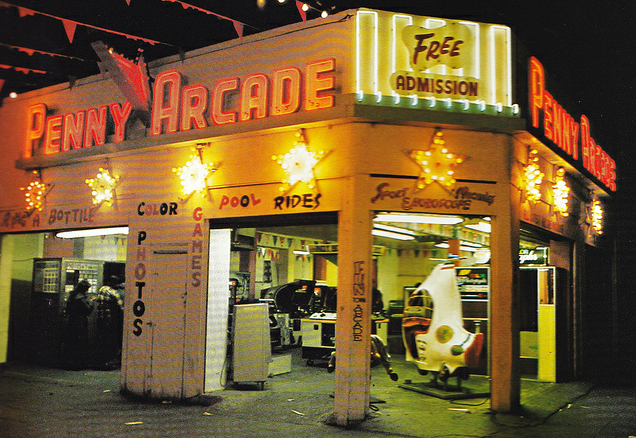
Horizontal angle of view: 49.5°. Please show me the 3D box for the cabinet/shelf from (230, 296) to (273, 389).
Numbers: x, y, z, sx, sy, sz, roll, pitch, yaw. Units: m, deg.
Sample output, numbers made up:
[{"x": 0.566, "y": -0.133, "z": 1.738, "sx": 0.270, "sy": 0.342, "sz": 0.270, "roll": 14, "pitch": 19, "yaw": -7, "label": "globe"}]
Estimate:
[{"x": -1.640, "y": 3.045, "z": 16.868, "sx": 0.918, "sy": 1.974, "sz": 0.535, "roll": 0, "pitch": 3, "yaw": -10, "label": "cabinet/shelf"}]
